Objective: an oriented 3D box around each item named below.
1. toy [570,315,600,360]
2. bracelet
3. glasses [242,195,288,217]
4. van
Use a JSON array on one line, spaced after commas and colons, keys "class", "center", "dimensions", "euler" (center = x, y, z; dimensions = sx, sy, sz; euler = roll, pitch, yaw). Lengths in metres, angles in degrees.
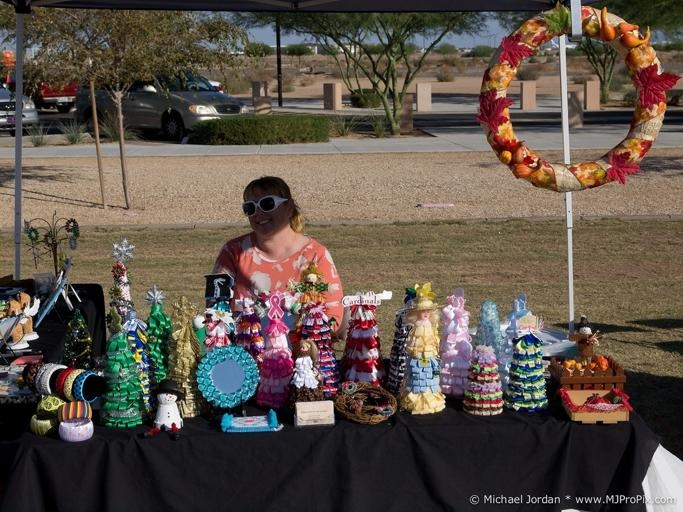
[{"class": "toy", "center": [1.822, 0.604, 8.507], "dimensions": [0.230, 0.317, 0.153], "euler": [-3, 11, 32]}, {"class": "bracelet", "center": [-1.944, 1.020, 7.991], "dimensions": [0.411, 0.207, 0.520], "euler": [-1, 24, -25]}, {"class": "glasses", "center": [-0.601, -0.409, 8.992], "dimensions": [0.352, 0.170, 0.209], "euler": [-4, 5, -4]}, {"class": "van", "center": [-4.756, -3.539, 26.544], "dimensions": [3.910, 1.699, 1.850], "euler": [1, 9, 24]}]
